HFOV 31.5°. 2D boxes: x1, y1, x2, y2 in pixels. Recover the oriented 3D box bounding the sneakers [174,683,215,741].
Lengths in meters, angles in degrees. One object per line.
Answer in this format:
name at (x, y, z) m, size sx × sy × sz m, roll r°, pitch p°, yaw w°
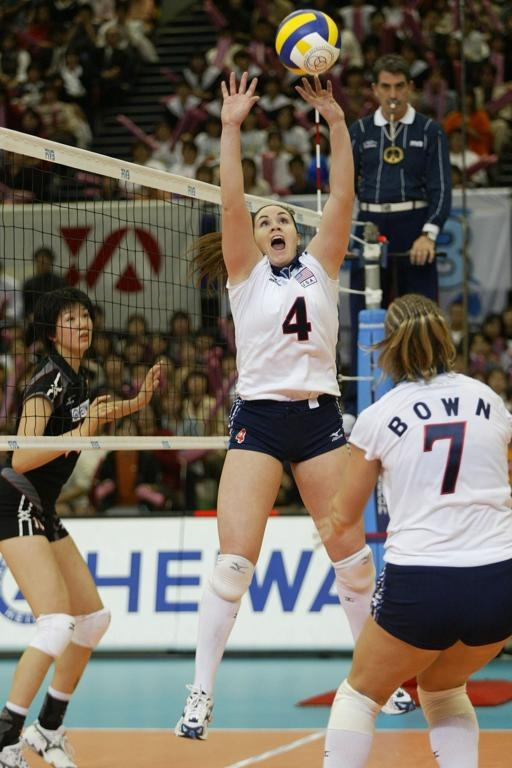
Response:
sneakers at (-0.219, 1.150, 3.189) m, size 0.095 × 0.099 × 0.219 m, roll 10°, pitch 45°, yaw -6°
